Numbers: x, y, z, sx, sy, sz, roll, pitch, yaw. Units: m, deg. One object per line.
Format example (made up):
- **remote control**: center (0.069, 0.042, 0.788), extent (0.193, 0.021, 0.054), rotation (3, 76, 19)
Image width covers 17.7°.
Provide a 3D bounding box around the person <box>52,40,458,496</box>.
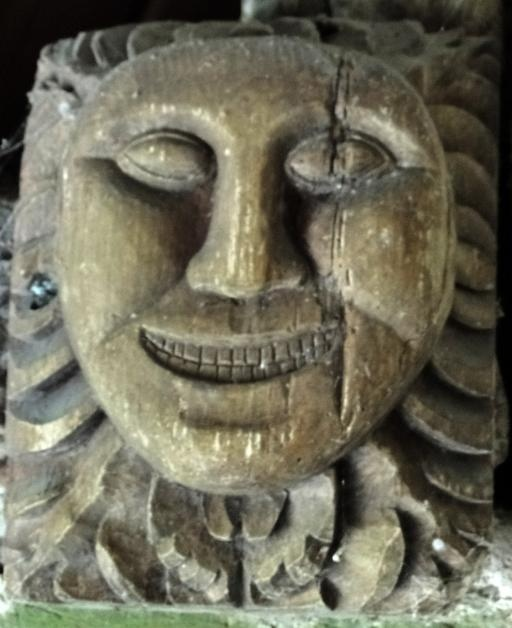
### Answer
- **person**: center (-0.019, -0.060, 3.910), extent (0.979, 0.449, 1.443), rotation (2, 44, -1)
